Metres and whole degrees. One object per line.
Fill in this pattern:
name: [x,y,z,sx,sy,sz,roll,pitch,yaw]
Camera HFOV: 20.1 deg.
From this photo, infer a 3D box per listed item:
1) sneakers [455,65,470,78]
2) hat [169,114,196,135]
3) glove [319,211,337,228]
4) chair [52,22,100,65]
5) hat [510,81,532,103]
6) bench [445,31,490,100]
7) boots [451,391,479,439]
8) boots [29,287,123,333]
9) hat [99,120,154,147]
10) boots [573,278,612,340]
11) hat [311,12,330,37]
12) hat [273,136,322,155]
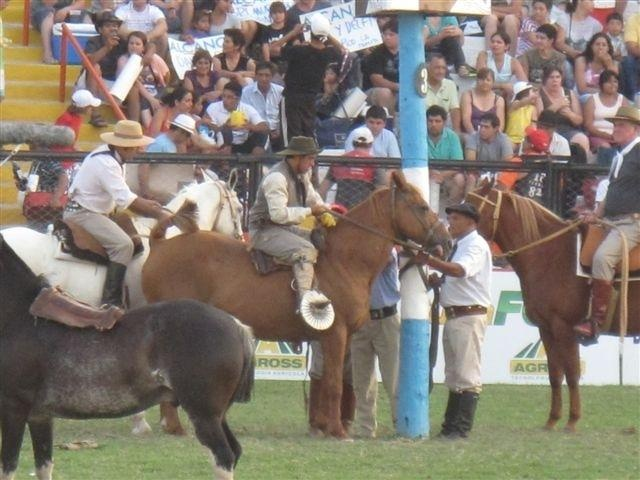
sneakers: [2.297,-2.756,29.313,0.165,0.079,0.218,7,44,1]
hat: [-2.007,-1.719,26.458,0.324,0.174,0.293,30,4,6]
glove: [0.104,-0.274,23.442,0.093,0.165,0.210,-18,0,-29]
chair: [-3.992,-3.275,29.360,0.676,0.611,0.937,1,8,-10]
hat: [3.147,-2.367,28.474,0.311,0.148,0.311,-28,-1,-13]
bench: [2.457,-2.962,29.787,0.648,1.109,0.292,6,-29,-3]
boots: [1.857,2.254,23.476,0.261,0.553,0.409,6,16,18]
boots: [-2.891,0.846,21.370,1.042,0.428,0.327,12,-20,6]
hat: [-2.505,-1.375,23.407,0.655,0.385,0.476,0,15,-5]
boots: [3.593,0.960,23.851,0.354,0.876,0.440,8,16,24]
hat: [-0.046,-3.007,25.534,0.278,0.292,0.379,9,-25,0]
hat: [-0.319,-1.279,24.333,0.474,0.198,0.526,1,-1,-9]
